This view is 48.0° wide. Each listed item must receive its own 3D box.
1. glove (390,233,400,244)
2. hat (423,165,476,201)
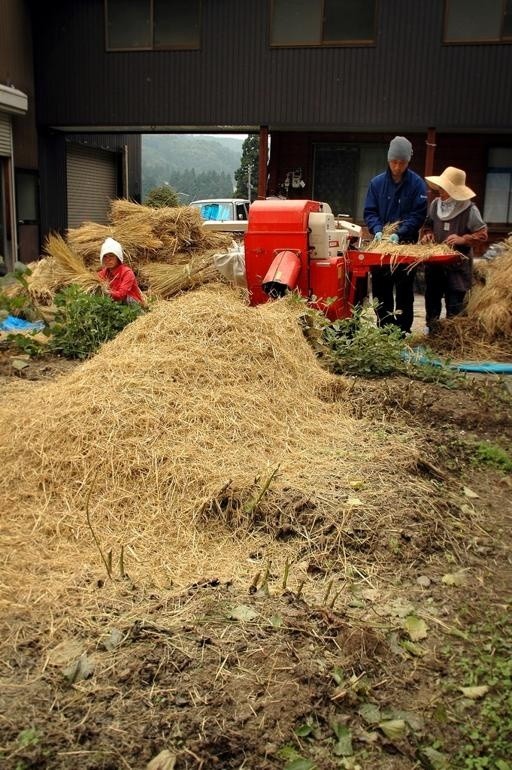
[{"bbox_3d":[1.257,-1.335,5.272,0.072,0.098,0.127,3,8,9],"label":"glove"},{"bbox_3d":[1.940,-1.859,5.505,0.495,0.195,0.409,16,22,-31],"label":"hat"}]
